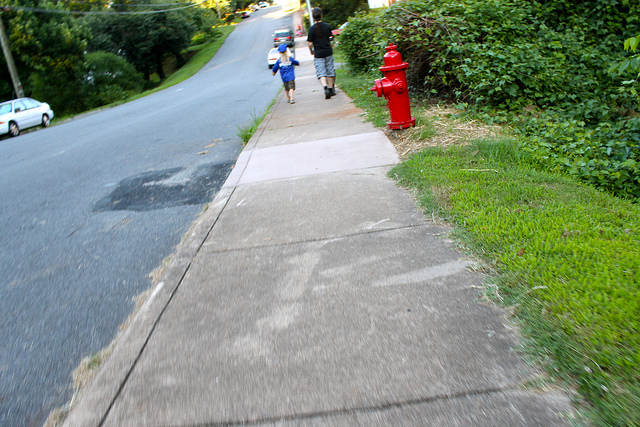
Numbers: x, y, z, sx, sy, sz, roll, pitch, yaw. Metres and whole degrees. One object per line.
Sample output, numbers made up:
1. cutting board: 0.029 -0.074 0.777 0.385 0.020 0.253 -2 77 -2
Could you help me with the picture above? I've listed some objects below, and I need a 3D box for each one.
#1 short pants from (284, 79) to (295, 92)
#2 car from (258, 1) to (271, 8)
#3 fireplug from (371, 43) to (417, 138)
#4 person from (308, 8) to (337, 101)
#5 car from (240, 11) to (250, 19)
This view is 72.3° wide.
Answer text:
1. short pants: -0.775 -3.374 11.546 0.253 0.277 0.294 -14 25 -3
2. car: -13.376 -50.273 105.413 2.412 1.311 4.538 -13 25 0
3. fireplug: 1.248 -2.018 7.150 0.634 1.319 0.593 -20 26 -15
4. person: 0.086 -4.155 11.318 0.643 2.109 1.423 -10 25 5
5. car: -14.982 -40.029 88.150 1.933 0.906 1.188 -15 25 -6
